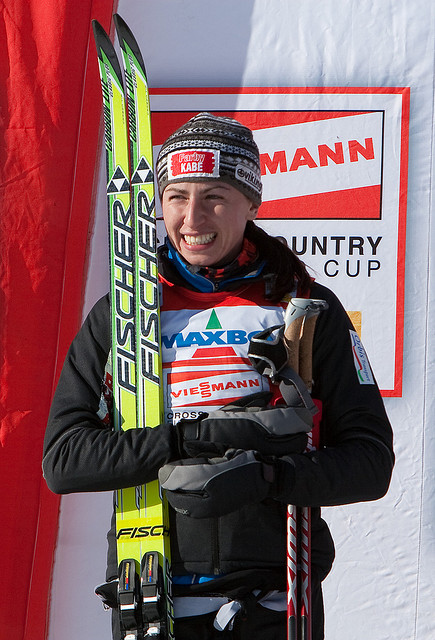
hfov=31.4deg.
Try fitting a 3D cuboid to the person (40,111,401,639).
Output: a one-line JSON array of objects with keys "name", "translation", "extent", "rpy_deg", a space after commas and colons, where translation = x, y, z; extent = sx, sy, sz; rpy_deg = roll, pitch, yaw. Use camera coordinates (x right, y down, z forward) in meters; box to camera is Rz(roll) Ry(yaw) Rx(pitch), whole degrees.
[{"name": "person", "translation": [-0.015, 0.119, 2.006], "extent": [0.780, 1.379, 0.497], "rpy_deg": [-6, -7, 28]}]

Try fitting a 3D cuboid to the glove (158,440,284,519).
[{"name": "glove", "translation": [0.026, 0.387, 1.886], "extent": [0.368, 0.139, 0.344], "rpy_deg": [-6, -3, -35]}]

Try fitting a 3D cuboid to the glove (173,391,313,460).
[{"name": "glove", "translation": [0.082, 0.250, 1.950], "extent": [0.355, 0.132, 0.268], "rpy_deg": [-1, 5, -10]}]

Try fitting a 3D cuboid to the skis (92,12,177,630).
[{"name": "skis", "translation": [-0.223, 0.008, 2.089], "extent": [0.225, 1.936, 0.269], "rpy_deg": [-1, -12, -3]}]
